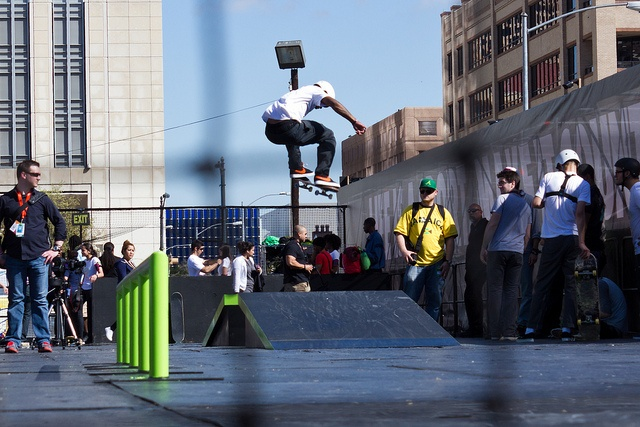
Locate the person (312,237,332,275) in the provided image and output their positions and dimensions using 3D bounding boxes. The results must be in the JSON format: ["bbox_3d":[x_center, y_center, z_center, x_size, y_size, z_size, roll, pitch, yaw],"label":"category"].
[{"bbox_3d":[0.045,0.658,18.208,0.280,0.586,0.779,-2,-4,1],"label":"person"}]

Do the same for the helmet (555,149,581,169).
[{"bbox_3d":[2.877,-0.649,13.488,0.203,0.235,0.254,2,-9,-20],"label":"helmet"}]

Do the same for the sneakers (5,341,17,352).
[{"bbox_3d":[-3.323,1.430,12.438,0.130,0.119,0.221,-1,-4,-14],"label":"sneakers"}]

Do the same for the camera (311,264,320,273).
[{"bbox_3d":[-0.063,0.830,17.742,0.189,0.135,0.291,-1,2,-4],"label":"camera"}]

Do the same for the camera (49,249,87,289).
[{"bbox_3d":[-3.530,0.774,16.244,0.272,0.492,0.579,-16,9,-43],"label":"camera"}]

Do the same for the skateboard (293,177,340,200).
[{"bbox_3d":[-0.121,-0.305,16.863,0.327,0.161,0.723,10,-6,35],"label":"skateboard"}]

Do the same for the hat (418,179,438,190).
[{"bbox_3d":[1.350,-0.381,14.422,0.187,0.154,0.251,-2,-4,7],"label":"hat"}]

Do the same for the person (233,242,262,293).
[{"bbox_3d":[-1.109,0.825,17.528,0.434,0.696,1.287,-2,-3,-5],"label":"person"}]

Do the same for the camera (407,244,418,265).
[{"bbox_3d":[1.156,0.504,14.367,0.228,0.225,0.166,5,2,-2],"label":"camera"}]

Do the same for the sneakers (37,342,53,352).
[{"bbox_3d":[-3.021,1.466,12.692,0.142,0.114,0.164,-1,-4,-15],"label":"sneakers"}]

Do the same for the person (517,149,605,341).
[{"bbox_3d":[2.774,0.339,13.350,0.963,2.205,0.454,-5,-5,42],"label":"person"}]

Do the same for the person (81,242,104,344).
[{"bbox_3d":[-3.440,1.186,17.519,0.338,1.528,0.802,-1,-4,-11],"label":"person"}]

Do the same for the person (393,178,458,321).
[{"bbox_3d":[1.331,0.424,14.371,0.750,1.765,0.469,-2,-4,6],"label":"person"}]

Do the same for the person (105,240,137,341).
[{"bbox_3d":[-2.975,1.139,17.217,0.466,1.523,1.396,-1,-4,-11],"label":"person"}]

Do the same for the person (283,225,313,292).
[{"bbox_3d":[-0.324,0.622,16.513,0.396,0.952,0.749,-2,-4,-1],"label":"person"}]
